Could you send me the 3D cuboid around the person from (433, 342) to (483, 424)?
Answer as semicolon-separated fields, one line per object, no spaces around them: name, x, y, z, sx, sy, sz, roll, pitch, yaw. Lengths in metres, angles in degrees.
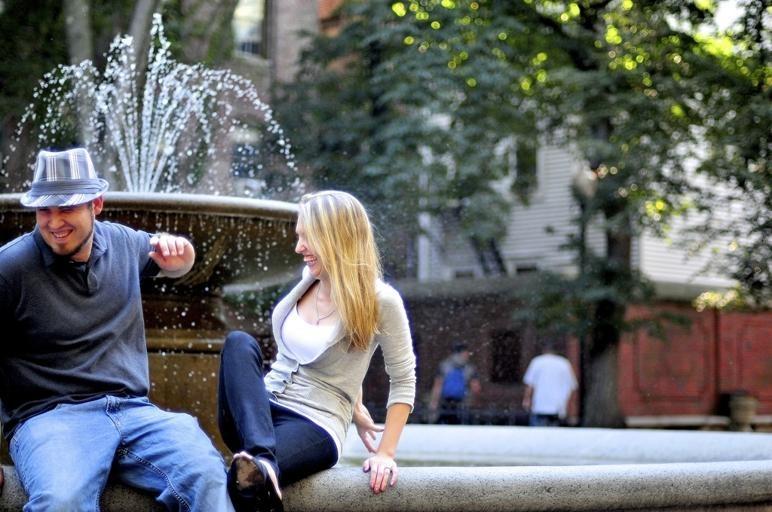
person;1.170;2.490;29.813;0.776;2.037;0.672;7;20;4

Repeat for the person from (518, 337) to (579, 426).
person;2.713;2.154;28.097;0.795;1.334;1.386;2;0;13

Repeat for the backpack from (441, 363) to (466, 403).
backpack;1.202;2.183;29.429;0.482;0.625;0.367;2;0;-42
